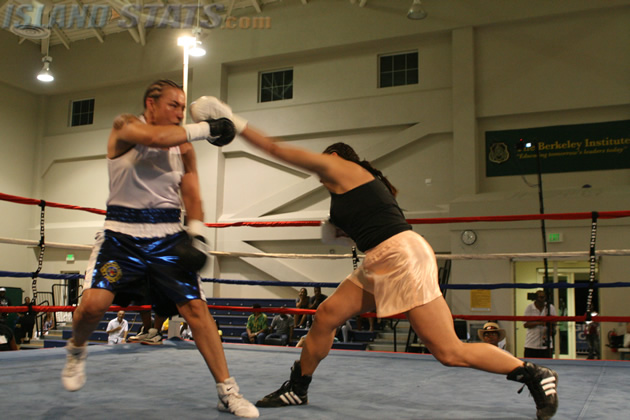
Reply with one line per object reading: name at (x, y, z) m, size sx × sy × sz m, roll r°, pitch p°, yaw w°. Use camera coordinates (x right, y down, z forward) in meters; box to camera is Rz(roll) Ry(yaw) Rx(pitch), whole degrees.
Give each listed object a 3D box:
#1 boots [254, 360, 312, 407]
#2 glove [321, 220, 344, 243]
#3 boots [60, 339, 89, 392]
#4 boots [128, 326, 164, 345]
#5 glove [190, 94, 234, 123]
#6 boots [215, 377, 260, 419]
boots at (-0.181, 1.132, 3.488) m, size 0.402 × 0.231 × 0.132 m, roll -10°, pitch -23°, yaw 22°
glove at (0.102, 0.159, 3.604) m, size 0.184 × 0.152 × 0.124 m, roll 0°, pitch -4°, yaw 1°
boots at (-1.484, 0.966, 3.360) m, size 0.135 × 0.329 × 0.149 m, roll 5°, pitch -32°, yaw -30°
boots at (-1.694, 1.245, 5.377) m, size 0.371 × 0.131 × 0.130 m, roll 3°, pitch -11°, yaw 2°
glove at (-0.636, -0.617, 3.400) m, size 0.237 × 0.144 × 0.224 m, roll 7°, pitch 12°, yaw 6°
boots at (-0.471, 1.115, 3.193) m, size 0.349 × 0.183 × 0.129 m, roll -7°, pitch -9°, yaw 41°
